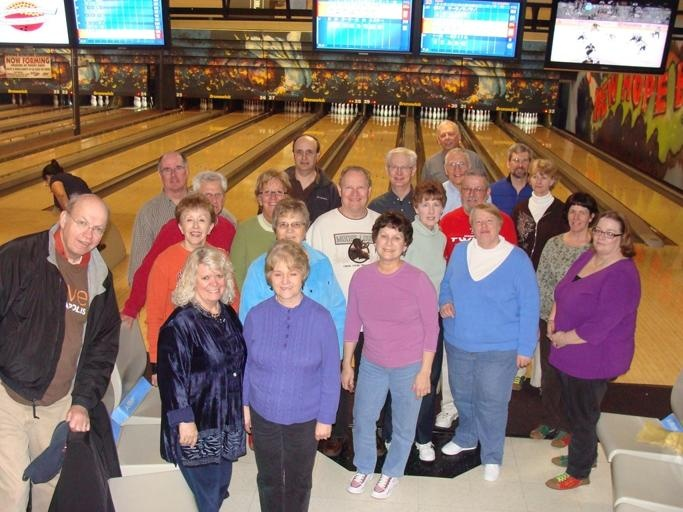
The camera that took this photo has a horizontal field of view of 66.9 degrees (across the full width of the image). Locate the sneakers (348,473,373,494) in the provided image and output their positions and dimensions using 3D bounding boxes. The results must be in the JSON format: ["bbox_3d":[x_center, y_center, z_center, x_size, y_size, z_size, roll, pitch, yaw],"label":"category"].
[{"bbox_3d":[0.083,1.198,2.722,0.057,0.065,0.164,3,-9,19],"label":"sneakers"}]

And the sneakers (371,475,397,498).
[{"bbox_3d":[0.215,1.213,2.698,0.061,0.072,0.178,3,-2,21],"label":"sneakers"}]

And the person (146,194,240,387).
[{"bbox_3d":[-0.810,0.370,2.749,0.483,1.317,0.360,-3,12,-28],"label":"person"}]

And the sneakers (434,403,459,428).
[{"bbox_3d":[0.670,1.022,3.308,0.076,0.082,0.199,3,5,28],"label":"sneakers"}]

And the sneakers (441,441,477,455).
[{"bbox_3d":[0.690,1.120,3.056,0.186,0.085,0.083,5,-1,-9],"label":"sneakers"}]

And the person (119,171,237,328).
[{"bbox_3d":[-0.885,-0.006,3.049,0.924,0.787,0.280,-10,36,-23],"label":"person"}]

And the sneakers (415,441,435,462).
[{"bbox_3d":[0.480,1.118,2.925,0.056,0.062,0.151,-3,-8,-2],"label":"sneakers"}]

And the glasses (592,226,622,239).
[{"bbox_3d":[1.357,-0.113,2.630,0.128,0.045,0.037,7,19,21],"label":"glasses"}]

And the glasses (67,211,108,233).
[{"bbox_3d":[-1.105,-0.135,2.250,0.137,0.083,0.061,-10,20,-30],"label":"glasses"}]

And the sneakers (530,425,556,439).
[{"bbox_3d":[1.231,1.086,3.171,0.172,0.055,0.065,2,-1,-39],"label":"sneakers"}]
